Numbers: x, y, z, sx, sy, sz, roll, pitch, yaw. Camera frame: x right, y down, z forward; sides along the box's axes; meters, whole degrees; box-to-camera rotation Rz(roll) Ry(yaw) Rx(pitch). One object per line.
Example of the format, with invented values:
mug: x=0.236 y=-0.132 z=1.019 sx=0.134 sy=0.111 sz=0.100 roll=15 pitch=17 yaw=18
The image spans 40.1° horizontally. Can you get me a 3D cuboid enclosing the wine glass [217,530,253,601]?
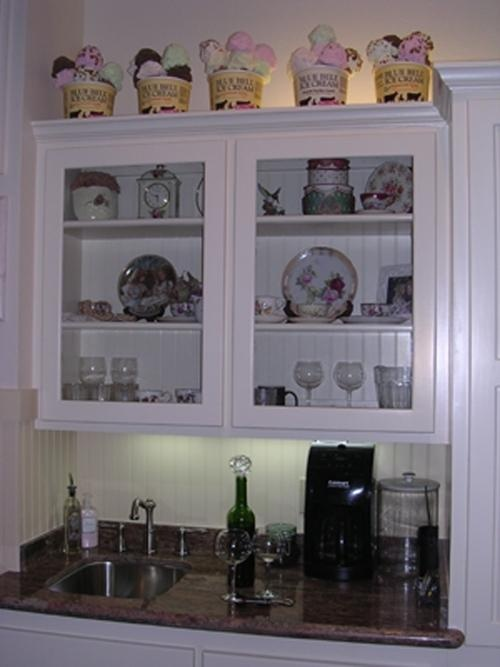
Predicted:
wine glass: x=-0.041 y=0.601 z=1.818 sx=0.096 sy=0.175 sz=0.181 roll=0 pitch=-4 yaw=1

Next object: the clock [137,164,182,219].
clock: x=-0.259 y=-0.399 z=1.936 sx=0.122 sy=0.142 sz=0.055 roll=1 pitch=4 yaw=9

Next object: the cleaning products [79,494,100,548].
cleaning products: x=-0.522 y=0.605 z=2.241 sx=0.053 sy=0.171 sz=0.159 roll=1 pitch=-4 yaw=-7

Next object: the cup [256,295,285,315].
cup: x=0.052 y=-0.076 z=1.837 sx=0.066 sy=0.045 sz=0.047 roll=3 pitch=-4 yaw=5

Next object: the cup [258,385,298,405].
cup: x=0.072 y=0.161 z=1.809 sx=0.096 sy=0.049 sz=0.092 roll=0 pitch=9 yaw=0

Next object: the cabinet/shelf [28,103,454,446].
cabinet/shelf: x=-0.001 y=-0.168 z=1.843 sx=1.013 sy=0.750 sz=0.268 roll=0 pitch=1 yaw=10

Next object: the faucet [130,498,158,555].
faucet: x=-0.345 y=0.610 z=2.143 sx=0.037 sy=0.164 sz=0.086 roll=-16 pitch=-23 yaw=42

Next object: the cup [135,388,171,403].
cup: x=-0.265 y=0.166 z=1.893 sx=0.056 sy=0.040 sz=0.049 roll=-1 pitch=-5 yaw=31

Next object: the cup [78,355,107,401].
cup: x=-0.454 y=0.133 z=1.987 sx=0.089 sy=0.135 sz=0.088 roll=0 pitch=-3 yaw=0

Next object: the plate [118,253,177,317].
plate: x=-0.299 y=-0.126 z=1.982 sx=0.183 sy=0.182 sz=0.062 roll=-2 pitch=-8 yaw=11

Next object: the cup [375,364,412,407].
cup: x=0.373 y=0.145 z=1.793 sx=0.106 sy=0.115 sz=0.088 roll=-2 pitch=-18 yaw=9

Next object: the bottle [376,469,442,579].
bottle: x=0.473 y=0.563 z=2.050 sx=0.177 sy=0.279 sz=0.175 roll=2 pitch=-10 yaw=0

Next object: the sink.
sink: x=-0.370 y=0.697 z=2.034 sx=0.227 sy=0.079 sz=0.175 roll=0 pitch=1 yaw=16

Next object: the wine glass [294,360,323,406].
wine glass: x=0.158 y=0.155 z=1.836 sx=0.079 sy=0.170 sz=0.074 roll=2 pitch=6 yaw=4

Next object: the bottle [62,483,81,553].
bottle: x=-0.567 y=0.575 z=2.178 sx=0.057 sy=0.223 sz=0.136 roll=1 pitch=-4 yaw=-15

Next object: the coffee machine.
coffee machine: x=0.266 y=0.514 z=2.003 sx=0.214 sy=0.362 sz=0.195 roll=1 pitch=-4 yaw=21

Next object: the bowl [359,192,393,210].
bowl: x=0.334 y=-0.356 z=1.821 sx=0.062 sy=0.027 sz=0.050 roll=2 pitch=3 yaw=-8

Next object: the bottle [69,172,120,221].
bottle: x=-0.458 y=-0.390 z=2.021 sx=0.139 sy=0.154 sz=0.169 roll=3 pitch=-4 yaw=-5
